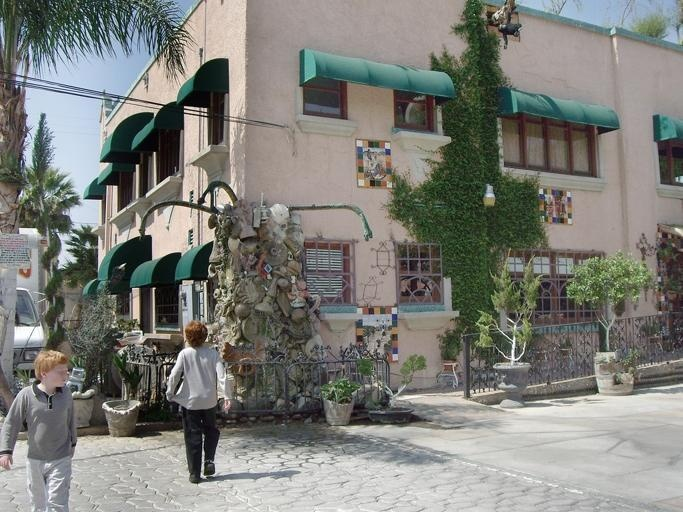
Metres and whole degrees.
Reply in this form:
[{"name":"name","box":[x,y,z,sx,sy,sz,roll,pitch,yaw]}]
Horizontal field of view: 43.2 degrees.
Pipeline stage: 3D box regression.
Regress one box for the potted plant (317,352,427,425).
[{"name":"potted plant","box":[0.522,2.932,18.709,1.661,1.064,1.498,-2,-6,-5]}]

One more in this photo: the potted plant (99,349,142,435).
[{"name":"potted plant","box":[-4.657,2.934,18.337,0.782,1.681,1.734,0,-8,-14]}]

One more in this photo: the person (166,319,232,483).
[{"name":"person","box":[-2.483,2.511,15.023,1.078,2.790,0.474,0,-7,-10]}]

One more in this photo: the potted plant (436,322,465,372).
[{"name":"potted plant","box":[2.860,2.302,22.567,0.881,1.301,0.783,9,-15,-38]}]

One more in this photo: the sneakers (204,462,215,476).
[{"name":"sneakers","box":[-2.288,3.704,14.989,0.209,0.261,0.154,1,-8,-23]}]

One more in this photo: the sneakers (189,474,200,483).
[{"name":"sneakers","box":[-2.509,3.799,14.766,0.129,0.109,0.135,2,-9,-13]}]
